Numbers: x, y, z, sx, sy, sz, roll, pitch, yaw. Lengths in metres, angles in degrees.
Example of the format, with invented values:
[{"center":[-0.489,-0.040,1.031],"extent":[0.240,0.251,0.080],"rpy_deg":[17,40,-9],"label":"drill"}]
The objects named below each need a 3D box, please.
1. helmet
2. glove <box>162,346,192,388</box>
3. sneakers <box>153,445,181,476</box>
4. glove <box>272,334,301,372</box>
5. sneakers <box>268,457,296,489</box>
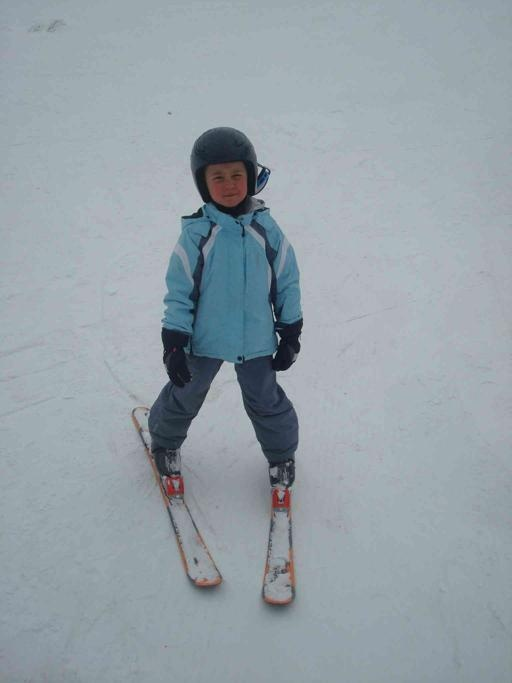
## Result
[{"center":[-0.172,-0.786,3.022],"extent":[0.272,0.343,0.287],"rpy_deg":[-12,94,-7],"label":"helmet"},{"center":[-0.337,0.112,3.020],"extent":[0.120,0.074,0.153],"rpy_deg":[7,104,30],"label":"glove"},{"center":[-0.455,0.573,3.432],"extent":[0.088,0.105,0.185],"rpy_deg":[-3,30,-18],"label":"sneakers"},{"center":[0.135,0.056,3.167],"extent":[0.129,0.145,0.048],"rpy_deg":[-7,33,-29],"label":"glove"},{"center":[0.124,0.637,3.377],"extent":[0.117,0.054,0.139],"rpy_deg":[0,86,10],"label":"sneakers"}]
